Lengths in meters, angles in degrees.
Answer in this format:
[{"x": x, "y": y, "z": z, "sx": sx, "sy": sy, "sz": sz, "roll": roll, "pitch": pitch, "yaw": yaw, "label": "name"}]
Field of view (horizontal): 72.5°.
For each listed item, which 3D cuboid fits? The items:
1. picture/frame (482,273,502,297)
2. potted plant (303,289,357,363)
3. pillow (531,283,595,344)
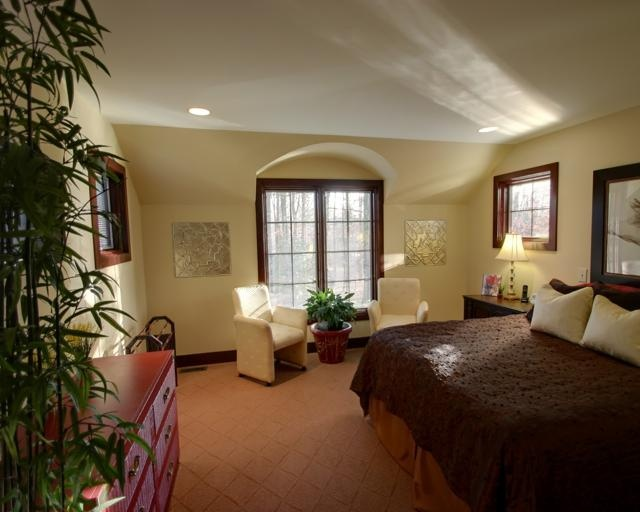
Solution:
[{"x": 1.978, "y": 0.357, "z": 5.018, "sx": 0.044, "sy": 0.335, "sz": 0.249, "roll": 12, "pitch": -6, "yaw": -35, "label": "picture/frame"}, {"x": 0.122, "y": 0.822, "z": 5.162, "sx": 0.740, "sy": 1.006, "sz": 0.725, "roll": 0, "pitch": 1, "yaw": -4, "label": "potted plant"}, {"x": 1.857, "y": 0.489, "z": 3.406, "sx": 0.196, "sy": 0.397, "sz": 0.567, "roll": 25, "pitch": -7, "yaw": -5, "label": "pillow"}]
